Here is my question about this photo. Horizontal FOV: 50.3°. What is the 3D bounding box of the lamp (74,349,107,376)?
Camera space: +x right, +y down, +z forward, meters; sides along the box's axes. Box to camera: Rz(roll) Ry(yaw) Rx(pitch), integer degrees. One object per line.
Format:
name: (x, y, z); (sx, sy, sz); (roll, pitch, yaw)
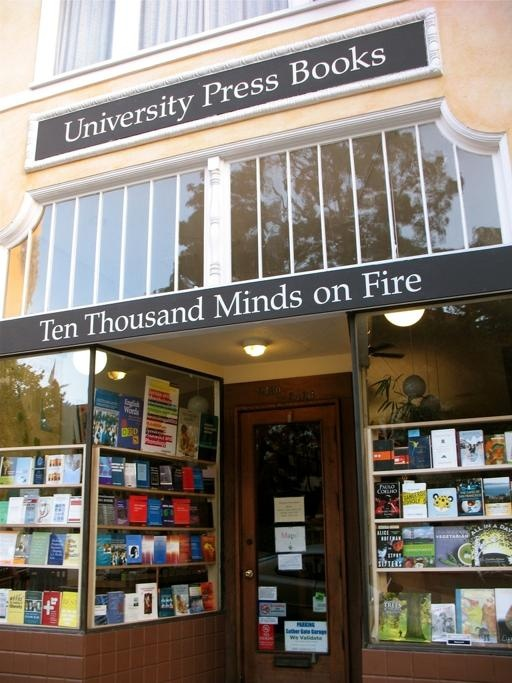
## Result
lamp: (-1.264, 0.137, 4.211); (0.232, 0.200, 0.199); (-19, 6, -6)

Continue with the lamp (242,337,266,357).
lamp: (-0.009, 0.036, 4.459); (0.167, 0.110, 0.167); (9, -16, -37)
